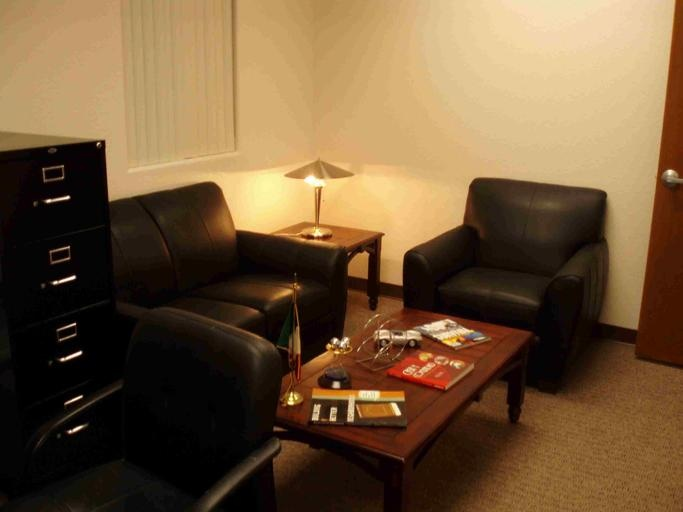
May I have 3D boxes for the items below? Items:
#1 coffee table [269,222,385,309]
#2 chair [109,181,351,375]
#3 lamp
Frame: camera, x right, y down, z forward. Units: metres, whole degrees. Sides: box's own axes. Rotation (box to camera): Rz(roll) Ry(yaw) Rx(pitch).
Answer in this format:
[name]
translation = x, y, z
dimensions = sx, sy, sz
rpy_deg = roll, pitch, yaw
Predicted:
[coffee table]
translation = -0.072, -0.075, 4.479
dimensions = 0.709, 0.692, 0.766
rpy_deg = 11, 22, 25
[chair]
translation = -0.706, 0.077, 3.425
dimensions = 1.038, 1.159, 1.576
rpy_deg = 7, 14, 33
[lamp]
translation = -0.162, -0.548, 4.486
dimensions = 0.588, 0.742, 0.632
rpy_deg = 6, 24, 9
